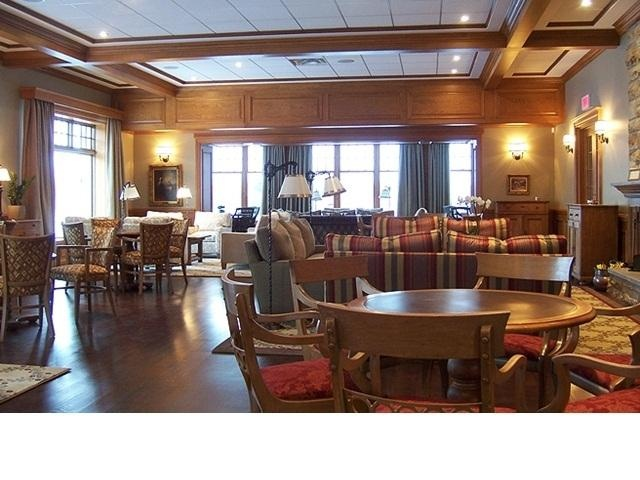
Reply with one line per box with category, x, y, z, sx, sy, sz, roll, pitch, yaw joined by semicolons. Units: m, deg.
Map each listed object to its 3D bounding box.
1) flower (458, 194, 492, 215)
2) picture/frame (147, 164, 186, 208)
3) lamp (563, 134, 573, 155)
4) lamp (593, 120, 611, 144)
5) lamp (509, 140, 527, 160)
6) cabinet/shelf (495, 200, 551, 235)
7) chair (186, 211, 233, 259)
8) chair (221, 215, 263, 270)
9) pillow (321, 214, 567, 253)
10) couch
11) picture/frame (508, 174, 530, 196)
flower;3.436;-0.778;10.250;0.610;0.669;0.657;7;13;35
picture/frame;-3.876;-1.419;11.793;1.362;1.224;0.101;1;3;4
lamp;4.866;-1.884;9.122;0.161;0.395;0.436;2;6;21
lamp;4.578;-1.738;7.552;0.190;0.364;0.314;3;7;27
lamp;4.373;-1.992;10.325;0.429;0.374;0.423;1;4;31
cabinet/shelf;3.889;-0.436;8.892;1.011;0.764;0.382;0;0;9
chair;-2.677;-0.114;10.762;1.379;1.234;1.192;0;-2;0
chair;-1.429;0.130;8.217;0.877;0.658;0.768;0;5;6
pillow;1.053;-0.052;4.286;1.939;0.293;1.066;0;5;0
couch;-0.359;0.235;4.617;0.627;0.627;1.432;2;5;3
picture/frame;4.449;-1.243;10.389;0.583;0.473;0.058;1;4;11
